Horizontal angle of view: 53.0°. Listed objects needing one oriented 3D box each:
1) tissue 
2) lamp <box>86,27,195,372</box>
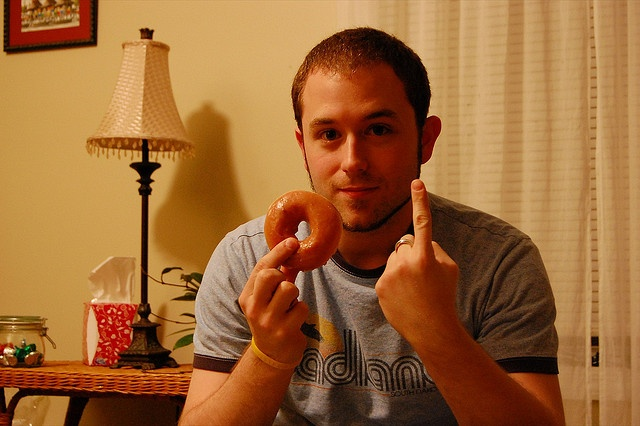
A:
[{"bbox_3d":[-1.057,0.499,3.281,0.213,0.619,0.202,1,4,17],"label":"tissue "},{"bbox_3d":[-0.860,-0.103,3.344,0.473,1.775,0.509,-1,-3,6],"label":"lamp"}]
